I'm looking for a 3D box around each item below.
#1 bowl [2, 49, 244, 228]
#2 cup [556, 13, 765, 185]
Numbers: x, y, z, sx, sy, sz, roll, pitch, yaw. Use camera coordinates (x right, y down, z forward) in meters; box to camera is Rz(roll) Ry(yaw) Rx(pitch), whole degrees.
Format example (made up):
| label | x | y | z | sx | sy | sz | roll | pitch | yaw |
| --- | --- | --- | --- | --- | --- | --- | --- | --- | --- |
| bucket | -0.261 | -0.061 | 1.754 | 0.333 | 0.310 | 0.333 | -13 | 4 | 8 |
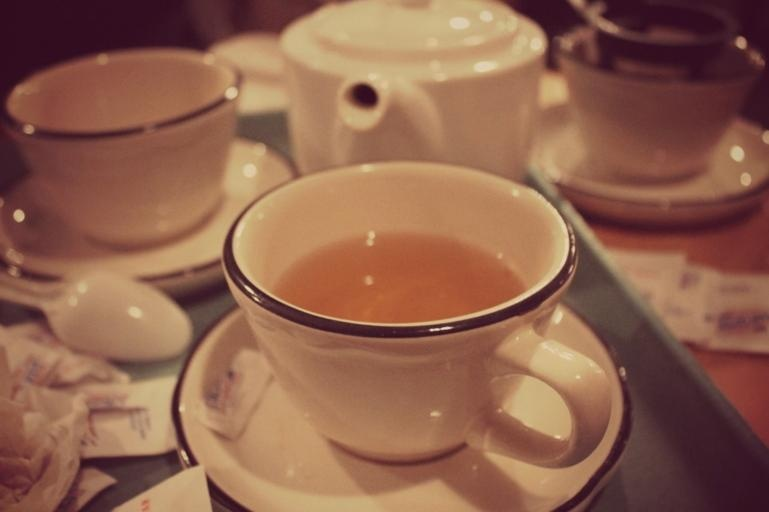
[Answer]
| label | x | y | z | sx | sy | sz | roll | pitch | yaw |
| --- | --- | --- | --- | --- | --- | --- | --- | --- | --- |
| bowl | -0.223 | -0.083 | 0.612 | 0.161 | 0.103 | 0.146 | 16 | 40 | 7 |
| cup | 0.228 | -0.135 | 0.560 | 0.131 | 0.104 | 0.150 | 4 | 44 | 12 |
